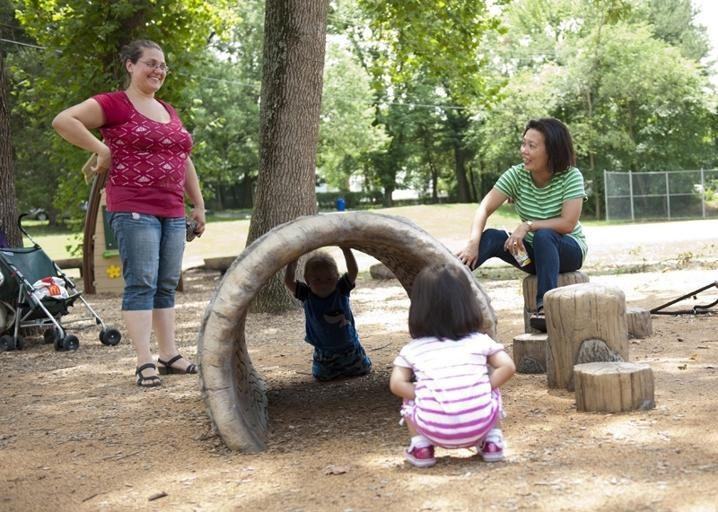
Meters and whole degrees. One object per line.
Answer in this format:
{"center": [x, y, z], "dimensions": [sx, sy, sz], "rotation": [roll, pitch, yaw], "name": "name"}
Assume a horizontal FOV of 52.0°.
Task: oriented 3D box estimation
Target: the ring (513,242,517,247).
{"center": [1.325, -0.103, 6.290], "dimensions": [0.043, 0.039, 0.022], "rotation": [4, -43, 2], "name": "ring"}

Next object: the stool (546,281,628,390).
{"center": [1.853, 0.647, 6.022], "dimensions": [0.670, 0.725, 0.678], "rotation": [-9, -7, 34], "name": "stool"}

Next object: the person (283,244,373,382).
{"center": [-0.287, 0.480, 6.570], "dimensions": [0.705, 1.213, 0.452], "rotation": [-4, 14, -1], "name": "person"}

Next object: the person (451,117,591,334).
{"center": [1.298, -0.318, 6.422], "dimensions": [1.546, 1.766, 1.106], "rotation": [2, 0, -5], "name": "person"}

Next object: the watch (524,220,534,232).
{"center": [1.457, -0.260, 6.337], "dimensions": [0.051, 0.079, 0.079], "rotation": [1, -27, 17], "name": "watch"}

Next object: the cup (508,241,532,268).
{"center": [1.379, -0.011, 6.395], "dimensions": [0.116, 0.123, 0.229], "rotation": [27, -13, 39], "name": "cup"}

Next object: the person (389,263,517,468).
{"center": [0.598, 0.731, 4.889], "dimensions": [0.809, 1.262, 0.519], "rotation": [-4, 14, 1], "name": "person"}

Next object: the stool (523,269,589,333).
{"center": [1.722, 0.422, 6.601], "dimensions": [0.575, 0.473, 0.577], "rotation": [-8, -9, 25], "name": "stool"}

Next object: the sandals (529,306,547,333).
{"center": [1.506, 0.552, 6.258], "dimensions": [0.100, 0.114, 0.283], "rotation": [-1, -16, 8], "name": "sandals"}
